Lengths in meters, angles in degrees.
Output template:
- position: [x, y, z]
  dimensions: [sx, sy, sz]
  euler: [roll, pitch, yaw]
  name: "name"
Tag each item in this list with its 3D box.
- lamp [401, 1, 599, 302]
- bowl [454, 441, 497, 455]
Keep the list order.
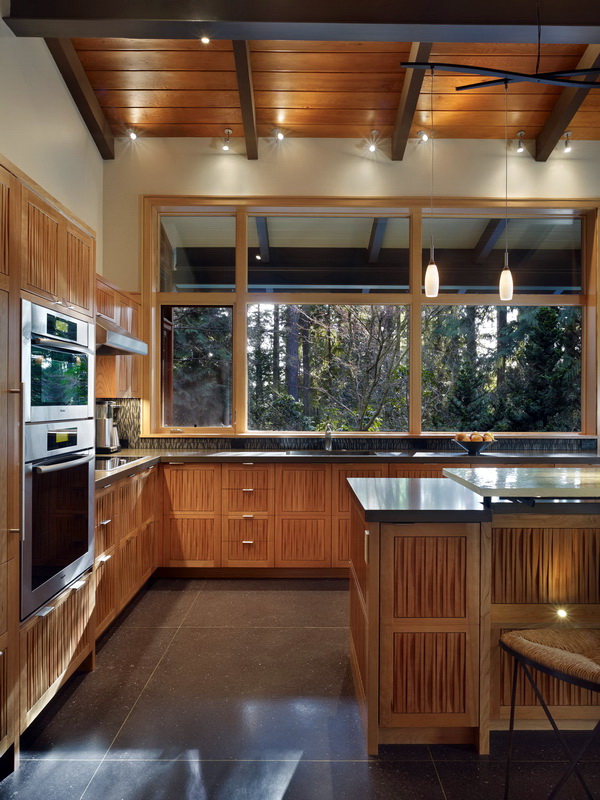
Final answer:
- position: [1.354, -1.746, 4.581]
  dimensions: [1.624, 1.642, 1.619]
  euler: [4, 3, 26]
  name: "lamp"
- position: [1.190, 0.319, 4.434]
  dimensions: [0.164, 0.065, 0.161]
  euler: [0, -3, 0]
  name: "bowl"
